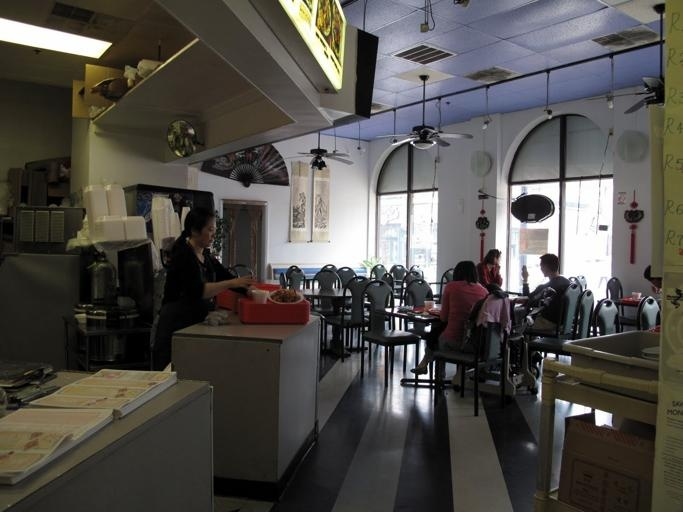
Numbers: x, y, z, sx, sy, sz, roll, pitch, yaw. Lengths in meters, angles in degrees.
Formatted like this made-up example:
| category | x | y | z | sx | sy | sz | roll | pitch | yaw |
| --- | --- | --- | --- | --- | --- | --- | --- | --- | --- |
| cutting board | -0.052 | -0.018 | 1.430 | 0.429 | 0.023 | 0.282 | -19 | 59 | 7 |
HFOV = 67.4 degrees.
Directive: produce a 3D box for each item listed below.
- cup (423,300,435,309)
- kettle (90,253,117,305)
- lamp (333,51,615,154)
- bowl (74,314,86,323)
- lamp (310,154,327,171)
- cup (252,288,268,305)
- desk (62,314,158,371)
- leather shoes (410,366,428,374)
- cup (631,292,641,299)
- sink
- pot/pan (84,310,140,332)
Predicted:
| category | x | y | z | sx | sy | sz | roll | pitch | yaw |
| --- | --- | --- | --- | --- | --- | --- | --- | --- | --- |
| cup | 0.966 | 0.524 | 5.546 | 0.084 | 0.069 | 0.088 | 1 | 2 | 0 |
| kettle | -1.868 | 0.182 | 4.057 | 0.197 | 0.370 | 0.285 | 3 | 10 | -28 |
| lamp | 2.409 | -2.670 | 9.215 | 1.885 | 1.199 | 5.570 | 0 | 12 | -42 |
| bowl | -2.016 | 0.491 | 3.996 | 0.085 | 0.064 | 0.067 | 2 | 1 | 9 |
| lamp | -0.371 | -1.585 | 8.396 | 0.200 | 0.262 | 0.517 | 7 | 9 | -6 |
| cup | -0.554 | 0.281 | 3.502 | 0.092 | 0.073 | 0.088 | 0 | 3 | 0 |
| desk | -1.719 | 0.657 | 3.902 | 0.486 | 0.392 | 0.294 | -1 | -2 | 22 |
| leather shoes | 0.787 | 1.155 | 5.237 | 0.076 | 0.092 | 0.214 | 1 | -2 | -29 |
| cup | 4.137 | 0.561 | 7.209 | 0.135 | 0.108 | 0.135 | 0 | 3 | 0 |
| sink | 1.407 | 0.499 | 2.668 | 0.423 | 0.144 | 0.720 | 14 | 10 | 32 |
| pot/pan | -1.707 | 0.481 | 3.872 | 0.370 | 0.149 | 0.178 | 4 | 10 | -28 |
